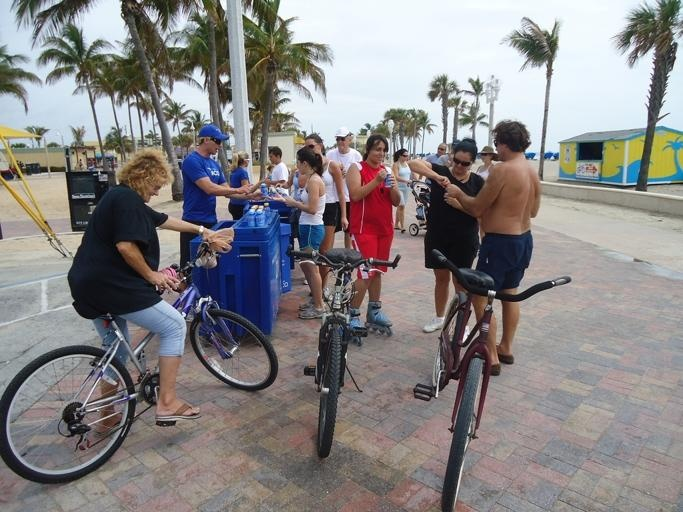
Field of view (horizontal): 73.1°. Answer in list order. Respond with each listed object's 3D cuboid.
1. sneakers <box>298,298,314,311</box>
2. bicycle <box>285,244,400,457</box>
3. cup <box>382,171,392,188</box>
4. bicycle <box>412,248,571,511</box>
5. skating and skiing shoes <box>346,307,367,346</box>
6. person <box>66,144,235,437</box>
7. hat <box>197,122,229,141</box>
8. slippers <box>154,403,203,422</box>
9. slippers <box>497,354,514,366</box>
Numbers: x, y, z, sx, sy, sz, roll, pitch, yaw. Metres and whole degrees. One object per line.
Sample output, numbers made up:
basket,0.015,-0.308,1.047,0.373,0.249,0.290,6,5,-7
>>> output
sneakers,-0.445,0.684,6.489,0.280,0.171,0.098,1,3,19
bicycle,0.024,0.690,3.949,0.795,1.613,1.312,-2,15,2
cup,0.513,-0.867,5.290,0.111,0.201,0.122,3,30,-2
bicycle,0.986,0.820,3.544,0.829,1.710,1.443,0,15,9
skating and skiing shoes,0.157,0.678,4.745,0.128,0.245,0.378,3,4,-12
person,-1.572,0.314,3.766,1.076,2.304,0.613,-11,18,-31
hat,-1.634,-1.540,5.751,0.310,0.212,0.375,-6,15,-16
slippers,-1.357,1.274,3.838,0.320,0.132,0.167,1,-4,-29
slippers,1.784,1.122,4.995,0.211,0.082,0.073,-2,8,-8
